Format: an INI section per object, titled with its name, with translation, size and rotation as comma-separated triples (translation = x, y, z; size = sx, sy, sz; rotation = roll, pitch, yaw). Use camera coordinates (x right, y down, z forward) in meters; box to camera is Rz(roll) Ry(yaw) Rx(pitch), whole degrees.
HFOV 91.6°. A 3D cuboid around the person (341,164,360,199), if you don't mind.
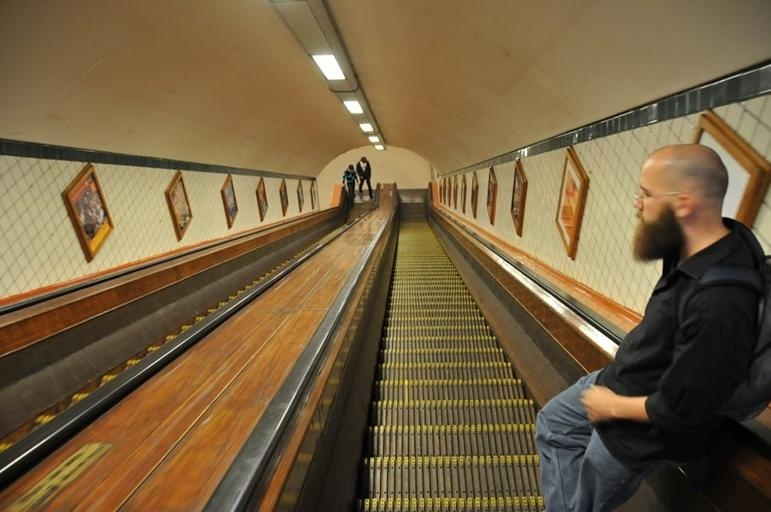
[person]
translation = -1.439, -3.276, 15.504
size = 0.481, 1.679, 1.094
rotation = 4, -28, -1
